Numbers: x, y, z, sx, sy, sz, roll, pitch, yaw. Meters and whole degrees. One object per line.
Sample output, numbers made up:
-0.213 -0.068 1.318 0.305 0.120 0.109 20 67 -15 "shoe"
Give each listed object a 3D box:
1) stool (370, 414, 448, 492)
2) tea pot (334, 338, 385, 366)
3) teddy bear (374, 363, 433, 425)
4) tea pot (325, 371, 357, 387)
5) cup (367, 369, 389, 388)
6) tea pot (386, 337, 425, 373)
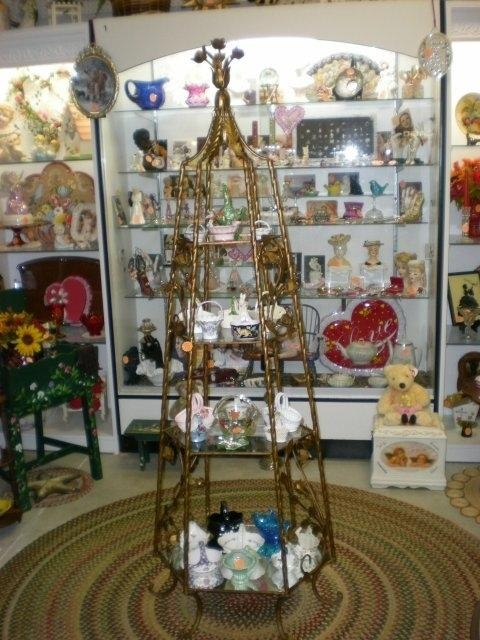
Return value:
0.920 0.730 2.878 0.401 0.284 0.390 0 9 4 "stool"
0.785 0.207 3.438 0.251 0.109 0.161 0 -1 5 "tea pot"
0.903 0.438 2.970 0.375 0.354 0.308 -6 11 5 "teddy bear"
0.633 0.376 3.289 0.124 0.052 0.095 1 7 -3 "tea pot"
0.863 0.373 3.304 0.108 0.078 0.122 0 0 3 "cup"
1.049 0.227 3.302 0.246 0.233 0.164 -3 8 7 "tea pot"
